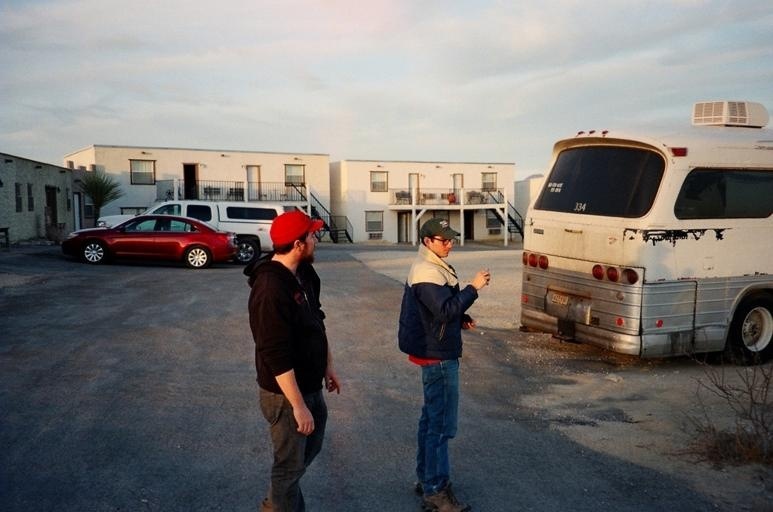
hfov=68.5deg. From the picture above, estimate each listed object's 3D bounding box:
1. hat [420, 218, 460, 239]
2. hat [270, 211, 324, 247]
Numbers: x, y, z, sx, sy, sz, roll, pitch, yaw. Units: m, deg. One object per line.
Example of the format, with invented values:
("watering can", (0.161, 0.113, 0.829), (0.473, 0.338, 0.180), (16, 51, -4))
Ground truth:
("hat", (0.509, -0.264, 5.580), (0.308, 0.164, 0.215), (-2, 2, 14))
("hat", (-0.774, -0.231, 4.755), (0.391, 0.196, 0.265), (-24, 28, -14))
